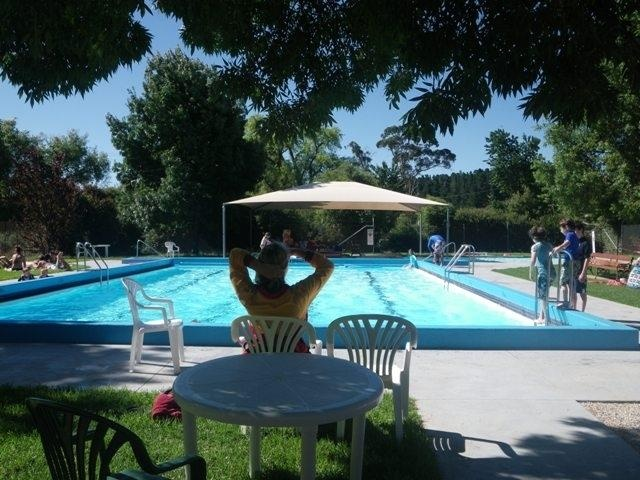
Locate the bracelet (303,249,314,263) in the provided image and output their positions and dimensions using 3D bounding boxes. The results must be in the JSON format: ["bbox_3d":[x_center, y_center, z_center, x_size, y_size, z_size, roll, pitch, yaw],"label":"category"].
[{"bbox_3d":[-0.096,0.151,4.944,0.085,0.102,0.100,0,2,0],"label":"bracelet"}]

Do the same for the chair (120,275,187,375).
[{"bbox_3d":[-2.038,1.033,6.445,0.611,1.119,0.629,1,4,-8],"label":"chair"}]

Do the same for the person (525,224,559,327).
[{"bbox_3d":[3.773,0.573,8.809,0.393,1.582,1.703,2,3,23],"label":"person"}]
